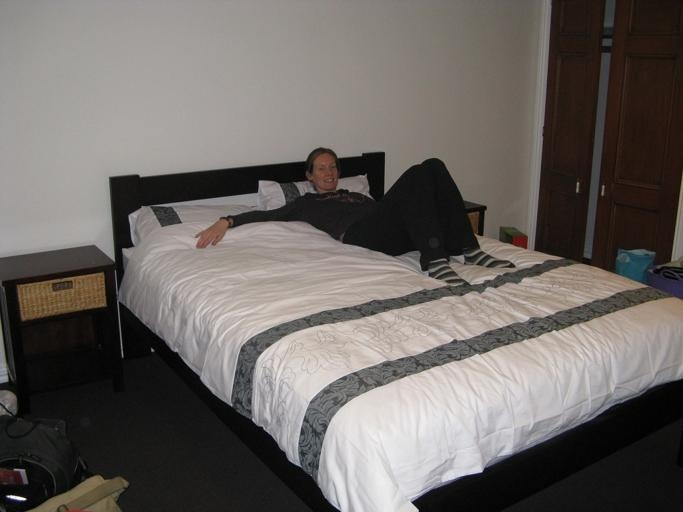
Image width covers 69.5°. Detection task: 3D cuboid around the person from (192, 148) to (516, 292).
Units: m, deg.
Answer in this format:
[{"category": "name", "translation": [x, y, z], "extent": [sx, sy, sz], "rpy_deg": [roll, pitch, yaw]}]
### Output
[{"category": "person", "translation": [0.198, -0.189, 3.249], "extent": [1.104, 0.493, 1.218], "rpy_deg": [12, 22, 39]}]
